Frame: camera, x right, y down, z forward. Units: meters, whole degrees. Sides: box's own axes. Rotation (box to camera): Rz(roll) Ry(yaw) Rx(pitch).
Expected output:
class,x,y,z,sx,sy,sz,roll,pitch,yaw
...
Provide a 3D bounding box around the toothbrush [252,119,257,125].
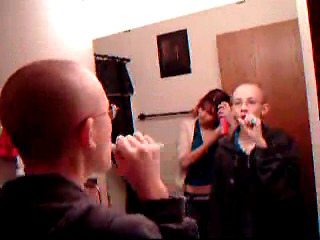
class,x,y,z,sx,sy,sz,roll,pitch,yaw
toothbrush,0.356,0.007,1.132,0.017,0.018,0.004,-2,-7,25

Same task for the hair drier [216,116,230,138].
class,x,y,z,sx,sy,sz,roll,pitch,yaw
hair drier,0.250,0.027,1.171,0.041,0.081,0.020,-11,-11,30

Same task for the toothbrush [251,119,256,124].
class,x,y,z,sx,sy,sz,roll,pitch,yaw
toothbrush,0.355,0.004,1.132,0.015,0.016,0.004,2,4,31
